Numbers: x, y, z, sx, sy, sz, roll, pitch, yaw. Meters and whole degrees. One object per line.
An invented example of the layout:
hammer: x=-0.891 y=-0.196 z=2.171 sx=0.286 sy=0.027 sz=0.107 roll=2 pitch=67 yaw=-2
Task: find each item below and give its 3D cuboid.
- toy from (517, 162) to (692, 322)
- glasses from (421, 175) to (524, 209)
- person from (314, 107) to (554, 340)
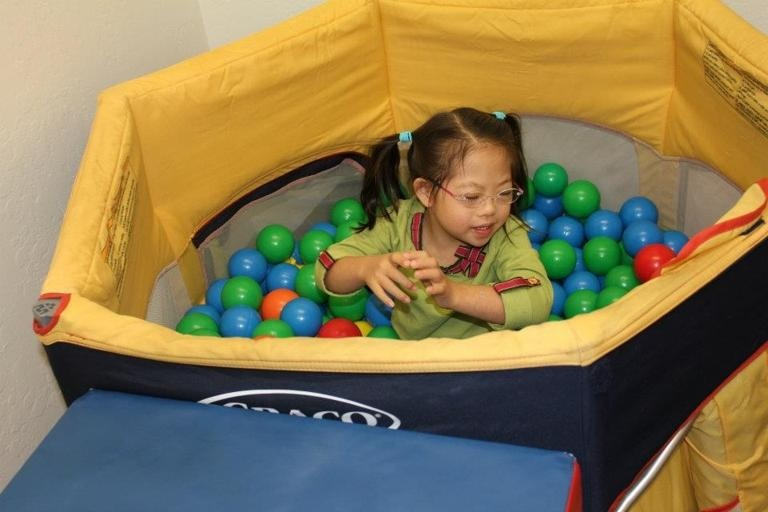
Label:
toy: x=0.875 y=-0.069 z=2.416 sx=0.602 sy=0.252 sz=0.662 roll=-27 pitch=42 yaw=-8
glasses: x=0.259 y=-0.183 z=1.825 sx=0.241 sy=0.058 sz=0.070 roll=5 pitch=17 yaw=17
person: x=0.137 y=-0.092 z=1.989 sx=0.722 sy=0.759 sz=0.861 roll=-7 pitch=17 yaw=-22
